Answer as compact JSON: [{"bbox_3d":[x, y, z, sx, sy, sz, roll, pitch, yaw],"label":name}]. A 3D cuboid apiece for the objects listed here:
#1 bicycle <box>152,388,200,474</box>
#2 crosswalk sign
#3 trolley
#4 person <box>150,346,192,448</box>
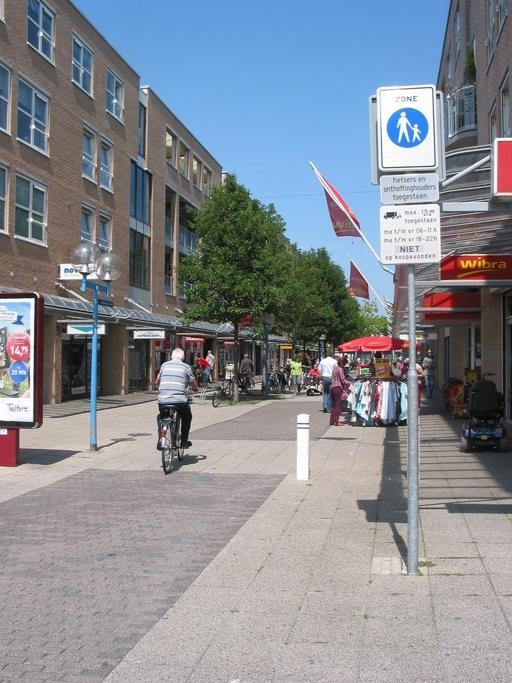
[{"bbox_3d":[-1.038,1.172,9.381,0.412,0.966,0.528,3,3,9],"label":"bicycle"},{"bbox_3d":[1.031,-1.451,4.918,0.402,0.590,0.099,-2,-2,11],"label":"crosswalk sign"},{"bbox_3d":[3.355,1.092,10.751,0.622,1.055,0.788,-2,-2,17],"label":"trolley"},{"bbox_3d":[-1.098,0.750,9.918,0.415,1.334,0.824,1,-1,8],"label":"person"}]
